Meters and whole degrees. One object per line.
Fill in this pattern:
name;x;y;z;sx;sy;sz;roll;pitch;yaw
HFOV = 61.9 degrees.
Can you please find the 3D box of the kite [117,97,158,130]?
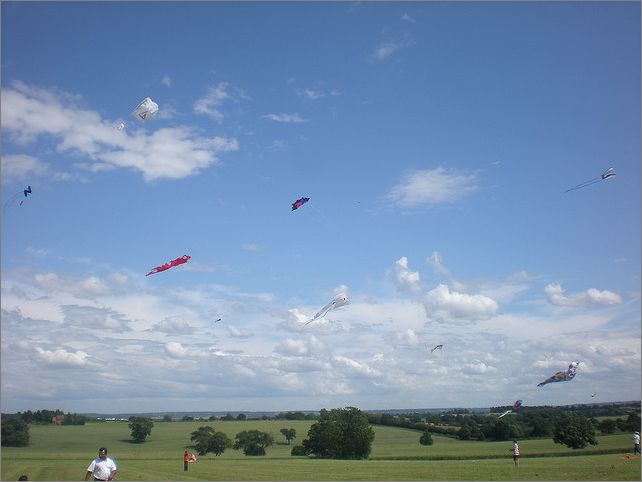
kite;-32.505;-23.655;98.499;3.704;4.048;2.289;-14;-31;30
